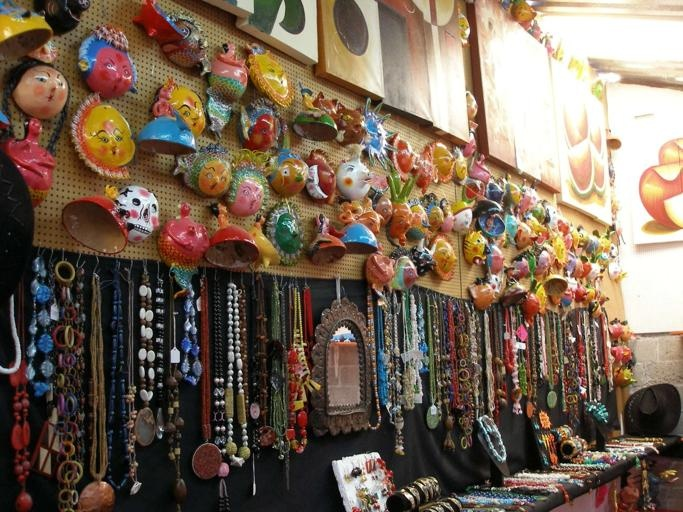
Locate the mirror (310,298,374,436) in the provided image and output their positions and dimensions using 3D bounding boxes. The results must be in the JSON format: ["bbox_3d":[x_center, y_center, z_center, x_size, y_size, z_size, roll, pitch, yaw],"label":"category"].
[{"bbox_3d":[-0.014,0.573,3.553,0.059,0.946,0.593,-5,-7,34],"label":"mirror"}]
